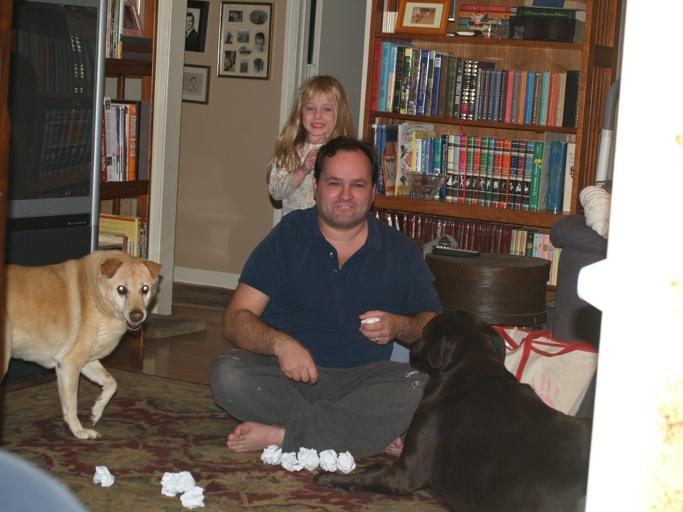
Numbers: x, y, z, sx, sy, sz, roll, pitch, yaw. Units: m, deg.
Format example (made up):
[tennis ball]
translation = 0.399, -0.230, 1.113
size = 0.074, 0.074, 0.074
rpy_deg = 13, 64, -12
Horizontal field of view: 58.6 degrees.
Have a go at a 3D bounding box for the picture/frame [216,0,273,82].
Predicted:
[picture/frame]
translation = -0.835, -1.894, 5.338
size = 0.698, 0.827, 0.062
rpy_deg = 5, 1, 14

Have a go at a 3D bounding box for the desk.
[desk]
translation = 0.871, 0.188, 3.529
size = 0.602, 0.289, 0.595
rpy_deg = 0, 5, -9

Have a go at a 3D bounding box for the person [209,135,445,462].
[person]
translation = -0.006, 0.148, 2.329
size = 0.840, 1.071, 0.782
rpy_deg = 10, 16, 20

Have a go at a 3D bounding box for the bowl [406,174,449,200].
[bowl]
translation = 0.595, -0.449, 4.241
size = 0.211, 0.146, 0.201
rpy_deg = 1, -4, 0
